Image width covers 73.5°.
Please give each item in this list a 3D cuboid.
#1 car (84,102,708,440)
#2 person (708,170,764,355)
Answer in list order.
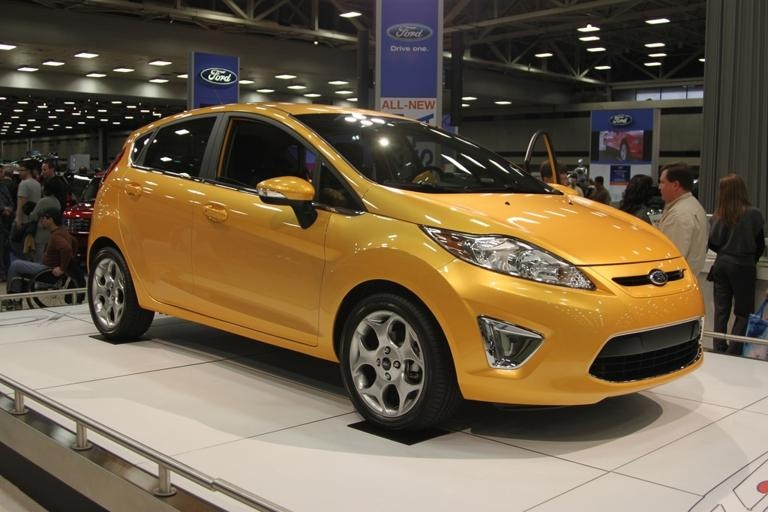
[{"bbox_3d":[-0.269,0.194,3.734,3.758,1.538,2.314,5,4,40],"label":"car"},{"bbox_3d":[3.944,0.017,5.829,0.531,1.819,0.413,7,12,31],"label":"person"}]
